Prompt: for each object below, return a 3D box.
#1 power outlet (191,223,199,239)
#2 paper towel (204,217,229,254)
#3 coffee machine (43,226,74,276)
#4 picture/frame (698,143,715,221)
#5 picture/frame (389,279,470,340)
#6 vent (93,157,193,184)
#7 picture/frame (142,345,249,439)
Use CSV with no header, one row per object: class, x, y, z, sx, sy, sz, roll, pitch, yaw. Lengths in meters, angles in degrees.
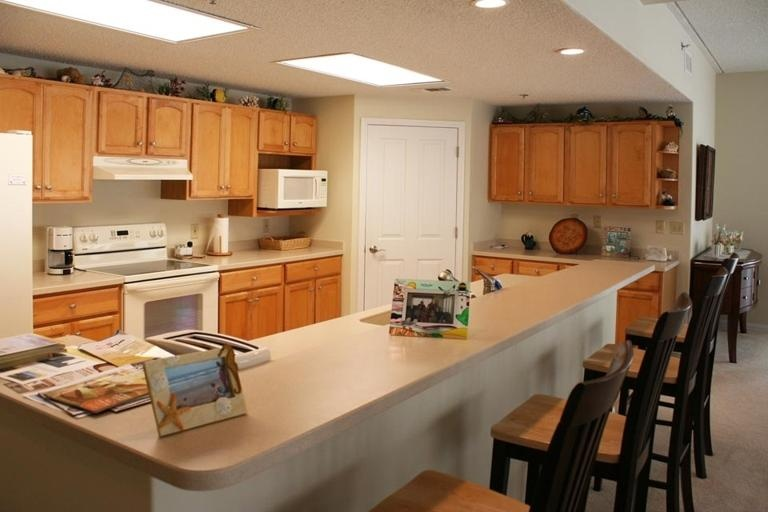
power outlet,-1.912,-0.248,5.427,0.030,0.158,0.110,9,15,28
paper towel,-1.650,-0.211,5.407,0.323,0.392,0.305,-1,4,-14
coffee machine,-2.589,-0.041,4.260,0.203,0.366,0.152,-1,14,-11
picture/frame,3.753,-0.887,6.265,0.117,0.902,1.065,3,7,36
picture/frame,0.209,0.238,2.442,0.388,0.241,0.018,5,0,-25
vent,-2.017,-0.746,4.538,0.163,0.192,0.800,13,16,41
picture/frame,-0.560,0.400,1.633,0.327,0.216,0.033,-17,-11,19
